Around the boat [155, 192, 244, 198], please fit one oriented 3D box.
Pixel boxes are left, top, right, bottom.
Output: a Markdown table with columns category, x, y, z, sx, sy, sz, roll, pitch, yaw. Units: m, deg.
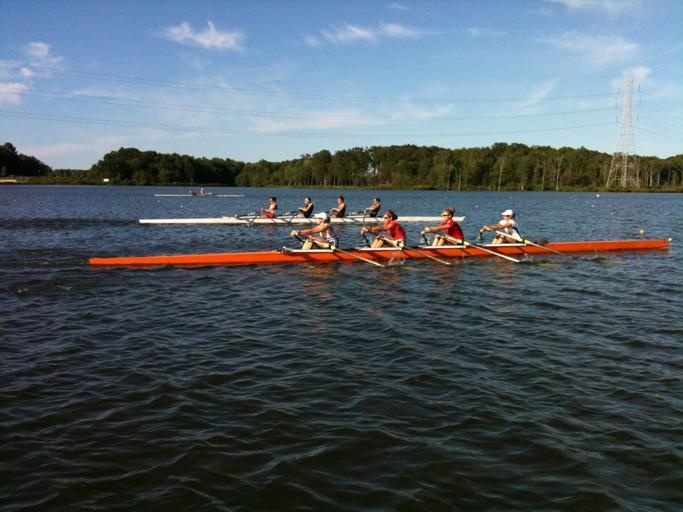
| category | x | y | z | sx | sy | sz | roll | pitch | yaw |
| --- | --- | --- | --- | --- | --- | --- | --- | --- | --- |
| boat | -17.341 | -7.576 | 71.019 | 8.841 | 0.659 | 11.804 | 0 | 6 | -4 |

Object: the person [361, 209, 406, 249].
| category | x | y | z | sx | sy | sz | roll | pitch | yaw |
| --- | --- | --- | --- | --- | --- | --- | --- | --- | --- |
| person | 1.439 | -0.851 | 18.122 | 1.094 | 1.228 | 1.467 | 1 | 7 | 3 |
